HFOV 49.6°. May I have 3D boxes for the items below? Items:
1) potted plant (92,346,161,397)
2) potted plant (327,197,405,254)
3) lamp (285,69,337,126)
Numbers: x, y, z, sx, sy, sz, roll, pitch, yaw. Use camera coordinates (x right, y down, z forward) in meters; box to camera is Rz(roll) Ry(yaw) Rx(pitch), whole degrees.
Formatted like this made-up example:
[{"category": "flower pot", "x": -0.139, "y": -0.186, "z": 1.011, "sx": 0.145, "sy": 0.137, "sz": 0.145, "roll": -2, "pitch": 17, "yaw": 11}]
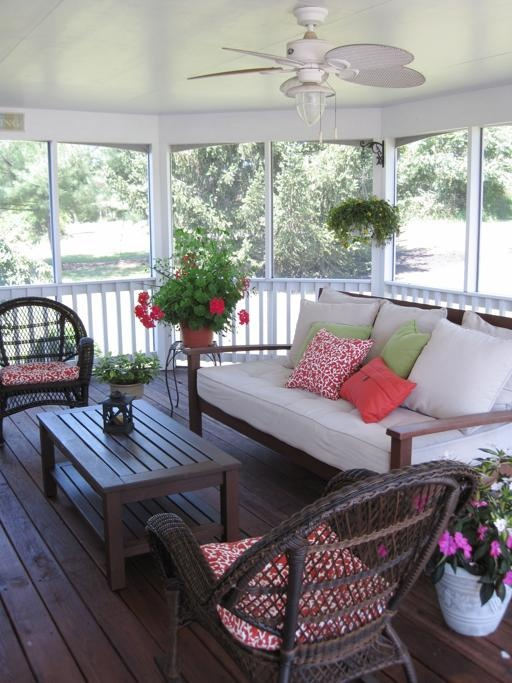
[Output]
[{"category": "potted plant", "x": -1.043, "y": 0.282, "z": 4.537, "sx": 0.473, "sy": 0.363, "sz": 0.410, "roll": 4, "pitch": 10, "yaw": 30}, {"category": "potted plant", "x": 0.968, "y": -1.057, "z": 4.996, "sx": 0.564, "sy": 0.400, "sz": 0.556, "roll": 0, "pitch": 1, "yaw": 20}, {"category": "lamp", "x": 0.236, "y": -1.111, "z": 2.555, "sx": 0.235, "sy": 0.209, "sz": 0.226, "roll": -2, "pitch": -2, "yaw": -2}]
